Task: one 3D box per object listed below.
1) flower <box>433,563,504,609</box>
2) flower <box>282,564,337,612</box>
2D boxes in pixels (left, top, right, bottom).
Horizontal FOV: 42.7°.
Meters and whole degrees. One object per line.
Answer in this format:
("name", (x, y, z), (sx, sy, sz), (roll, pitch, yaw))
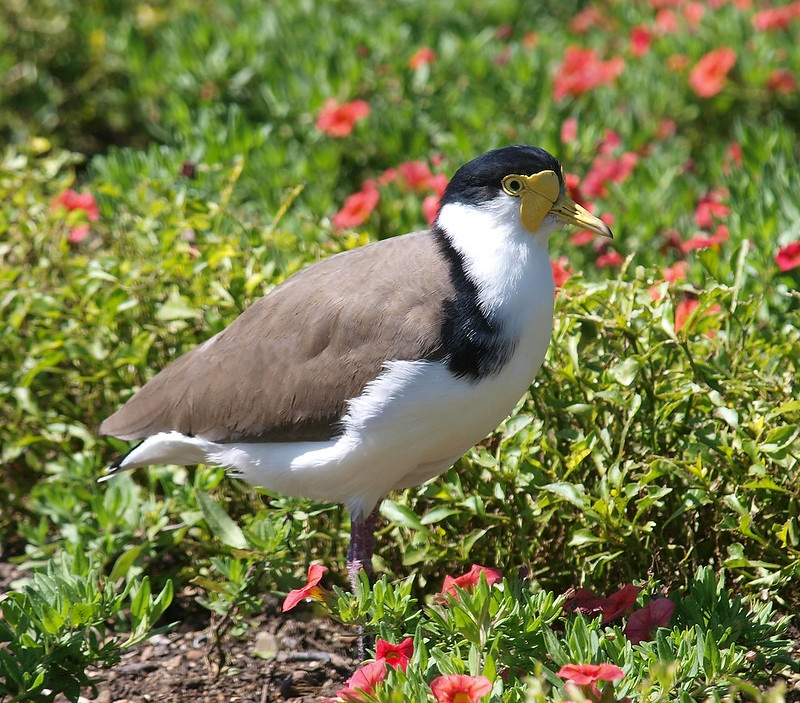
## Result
("flower", (0.257, 0.789, 3.559), (0.223, 0.074, 0.205), (-21, -2, -16))
("flower", (-0.314, 0.825, 3.522), (0.181, 0.081, 0.181), (-8, 3, -37))
